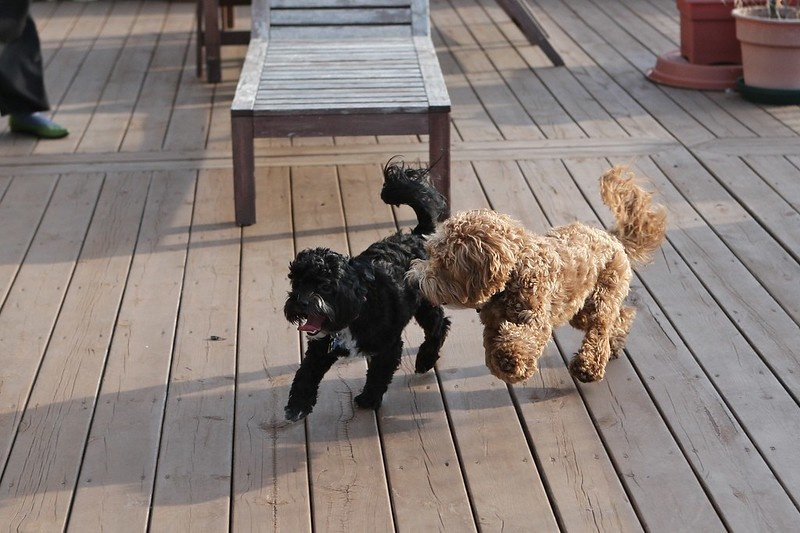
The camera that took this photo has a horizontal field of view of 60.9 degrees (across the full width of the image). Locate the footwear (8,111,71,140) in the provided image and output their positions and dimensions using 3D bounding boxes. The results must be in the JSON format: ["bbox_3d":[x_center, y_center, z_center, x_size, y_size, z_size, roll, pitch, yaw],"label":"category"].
[{"bbox_3d":[-2.278,-0.888,4.361,0.425,0.144,0.146,4,33,0],"label":"footwear"}]

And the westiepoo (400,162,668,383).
[{"bbox_3d":[0.616,0.033,2.667,1.286,0.742,0.422,-10,14,-38],"label":"westiepoo"}]

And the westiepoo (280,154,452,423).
[{"bbox_3d":[-0.111,0.099,2.643,0.387,0.799,1.188,11,19,21],"label":"westiepoo"}]

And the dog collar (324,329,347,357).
[{"bbox_3d":[-0.223,0.277,2.477,0.098,0.090,0.049,-6,14,21],"label":"dog collar"}]
